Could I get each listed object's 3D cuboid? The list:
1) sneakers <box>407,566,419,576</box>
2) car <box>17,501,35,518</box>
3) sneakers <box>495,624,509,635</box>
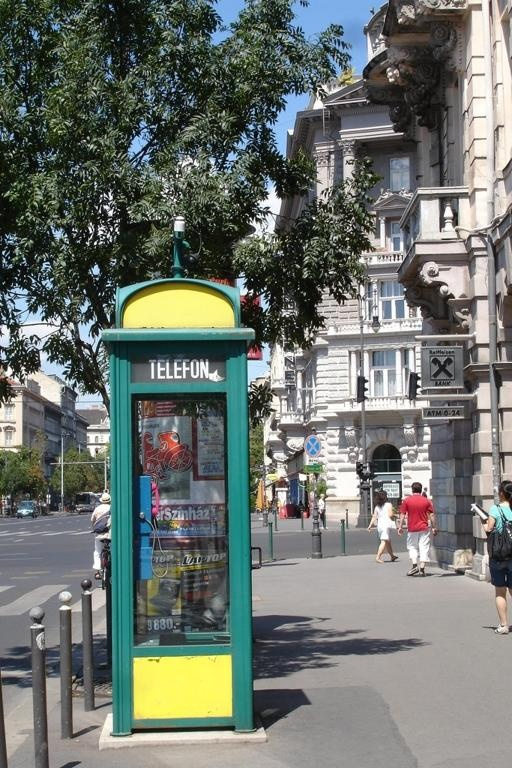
[{"bbox_3d":[2.699,3.212,17.690,0.196,0.168,0.437,-3,-5,7],"label":"sneakers"},{"bbox_3d":[-23.840,12.955,105.667,1.713,1.590,3.192,-1,-5,-15],"label":"car"},{"bbox_3d":[2.510,2.492,10.469,0.077,0.080,0.182,0,3,-20],"label":"sneakers"}]
